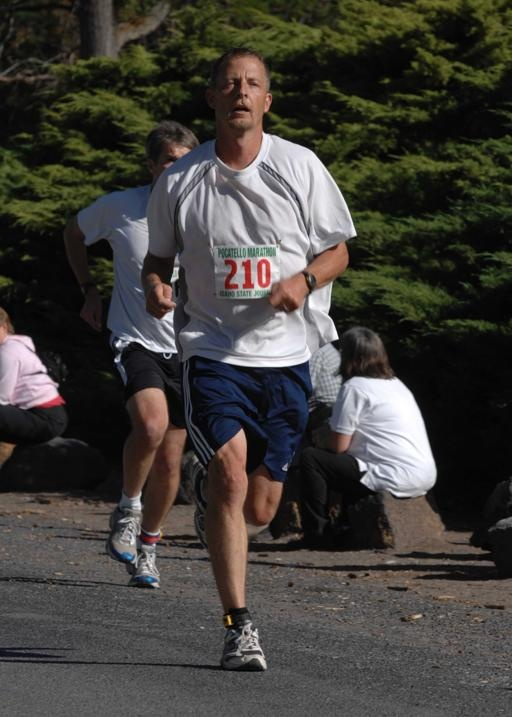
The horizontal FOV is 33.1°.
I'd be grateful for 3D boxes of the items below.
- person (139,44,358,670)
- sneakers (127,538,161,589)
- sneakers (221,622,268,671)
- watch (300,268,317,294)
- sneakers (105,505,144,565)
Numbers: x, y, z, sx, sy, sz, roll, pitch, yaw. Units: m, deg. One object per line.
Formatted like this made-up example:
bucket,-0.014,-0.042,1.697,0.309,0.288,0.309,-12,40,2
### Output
person,0.022,-0.189,3.198,0.771,1.823,1.254,0,22,-17
sneakers,-0.558,1.053,4.361,0.134,0.131,0.302,4,-1,-6
sneakers,-0.046,0.968,2.872,0.103,0.099,0.231,2,-8,-13
watch,0.191,-0.292,3.223,0.063,0.072,0.063,14,22,20
sneakers,-0.688,0.896,4.448,0.144,0.157,0.364,20,16,-22
